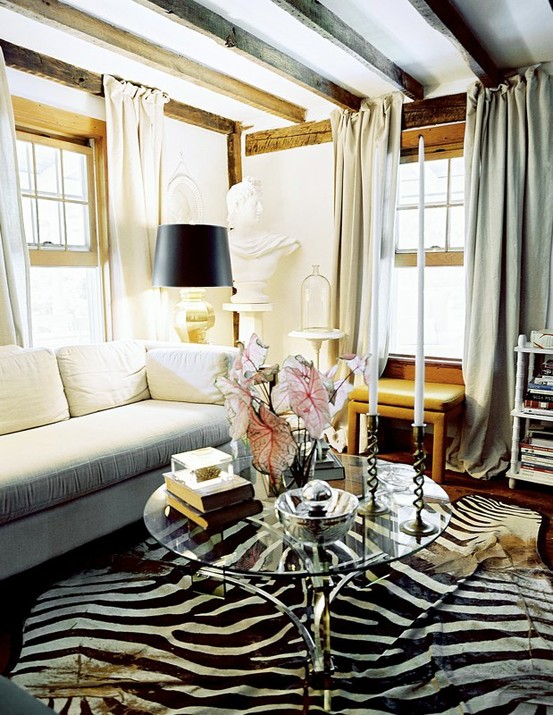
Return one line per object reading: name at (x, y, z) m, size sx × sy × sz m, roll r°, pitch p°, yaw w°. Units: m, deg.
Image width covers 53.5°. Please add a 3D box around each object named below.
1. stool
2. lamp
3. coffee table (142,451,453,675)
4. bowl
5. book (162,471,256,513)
stool at (0.703, 0.406, 3.231) m, size 0.521 × 0.382 × 0.356 m, roll 7°, pitch -1°, yaw 12°
lamp at (-0.468, -0.397, 3.157) m, size 0.419 × 0.655 × 0.555 m, roll -1°, pitch 4°, yaw -2°
coffee table at (0.091, 0.436, 1.364) m, size 0.573 × 0.221 × 0.569 m, roll -16°, pitch 22°, yaw -36°
bowl at (0.102, 0.375, 1.348) m, size 0.209 × 0.160 × 0.236 m, roll -1°, pitch 4°, yaw 20°
book at (-0.151, 0.346, 1.444) m, size 0.128 × 0.031 × 0.123 m, roll 12°, pitch 12°, yaw 41°
